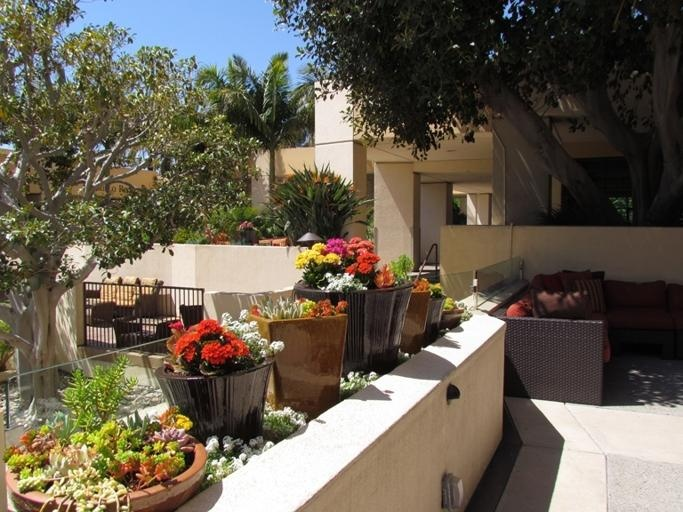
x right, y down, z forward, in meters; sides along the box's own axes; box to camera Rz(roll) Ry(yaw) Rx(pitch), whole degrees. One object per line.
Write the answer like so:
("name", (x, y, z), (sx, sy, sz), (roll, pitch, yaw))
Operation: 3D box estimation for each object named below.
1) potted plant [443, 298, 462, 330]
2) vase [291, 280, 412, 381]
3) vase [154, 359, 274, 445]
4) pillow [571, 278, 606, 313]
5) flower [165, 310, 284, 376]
("potted plant", (1.171, 0.588, 5.391), (0.178, 0.318, 0.491), (2, 5, 22))
("vase", (0.241, 0.534, 4.109), (0.657, 0.568, 0.734), (1, 5, 5))
("vase", (-0.668, 0.705, 2.730), (0.407, 0.364, 0.460), (-1, 4, 12))
("pillow", (3.882, 0.638, 8.076), (0.316, 0.379, 0.110), (0, -29, -11))
("flower", (-0.707, 0.483, 2.764), (0.381, 0.177, 0.351), (5, 10, 45))
